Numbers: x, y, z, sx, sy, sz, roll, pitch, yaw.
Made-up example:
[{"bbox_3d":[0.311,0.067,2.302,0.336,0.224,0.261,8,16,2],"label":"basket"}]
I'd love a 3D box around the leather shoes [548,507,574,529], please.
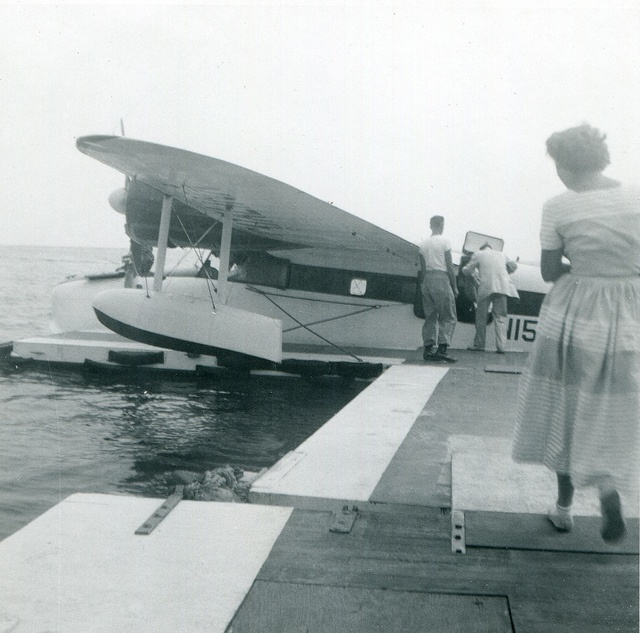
[{"bbox_3d":[0.855,0.718,2.556,0.039,0.057,0.126,0,6,4],"label":"leather shoes"}]

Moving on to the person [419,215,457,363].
[{"bbox_3d":[1.154,-0.168,7.036,0.392,1.202,0.254,3,5,37],"label":"person"}]

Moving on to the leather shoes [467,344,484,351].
[{"bbox_3d":[1.741,0.354,8.090,0.165,0.091,0.063,8,9,36],"label":"leather shoes"}]

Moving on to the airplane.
[{"bbox_3d":[-0.651,-0.317,7.959,3.391,1.433,3.339,3,2,-1],"label":"airplane"}]

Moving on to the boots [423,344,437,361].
[{"bbox_3d":[1.074,0.374,7.111,0.078,0.171,0.164,2,8,30],"label":"boots"}]

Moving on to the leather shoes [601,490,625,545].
[{"bbox_3d":[0.928,0.640,2.292,0.075,0.155,0.056,-9,-13,37],"label":"leather shoes"}]

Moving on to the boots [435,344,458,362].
[{"bbox_3d":[1.200,0.366,7.036,0.232,0.192,0.103,2,1,-14],"label":"boots"}]
